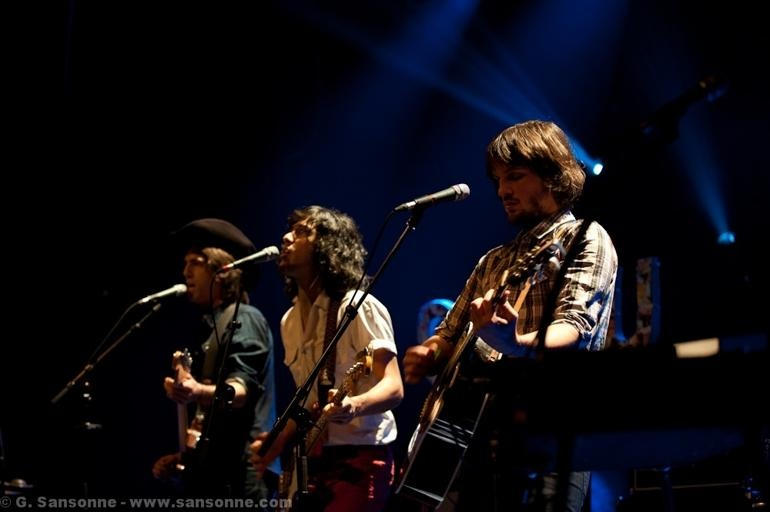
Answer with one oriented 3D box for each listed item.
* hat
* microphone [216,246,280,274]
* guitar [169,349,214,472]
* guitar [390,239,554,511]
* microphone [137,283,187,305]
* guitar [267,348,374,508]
[{"bbox_3d":[-1.703,-0.087,6.321,0.845,0.372,0.908,-23,14,-19],"label":"hat"},{"bbox_3d":[-1.274,0.028,5.886,0.524,0.110,0.130,-19,12,-5],"label":"microphone"},{"bbox_3d":[-1.623,1.304,5.452,0.190,1.361,0.536,16,-51,-29],"label":"guitar"},{"bbox_3d":[0.607,0.908,4.463,0.386,1.467,1.265,22,-33,-19],"label":"guitar"},{"bbox_3d":[-2.298,0.403,6.625,0.497,0.137,0.135,-18,1,-4],"label":"microphone"},{"bbox_3d":[-0.486,1.270,4.785,0.437,1.046,0.948,25,-34,-23],"label":"guitar"}]
